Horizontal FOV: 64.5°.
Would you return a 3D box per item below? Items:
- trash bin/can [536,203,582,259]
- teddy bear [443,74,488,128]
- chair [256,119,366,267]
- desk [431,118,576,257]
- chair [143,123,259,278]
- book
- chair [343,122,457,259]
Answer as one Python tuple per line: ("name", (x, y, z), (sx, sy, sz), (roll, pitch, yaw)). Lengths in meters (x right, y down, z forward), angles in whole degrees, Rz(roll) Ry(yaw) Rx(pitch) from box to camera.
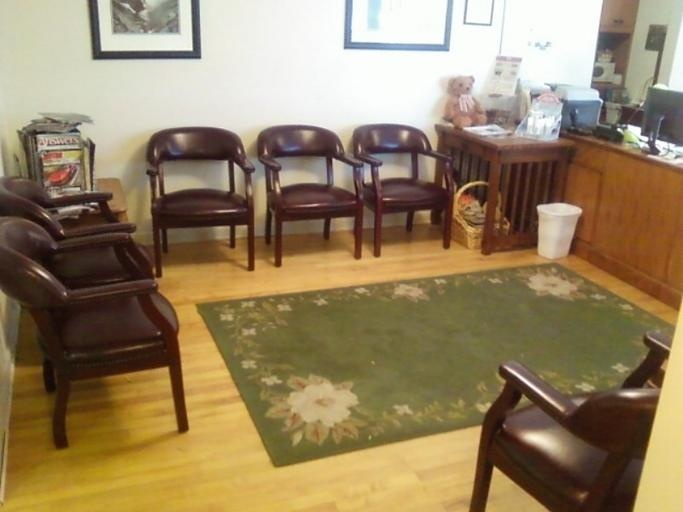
("trash bin/can", (1.771, -0.207, 4.426), (0.327, 0.411, 0.287), (-15, 25, -29))
("teddy bear", (1.092, -1.364, 4.769), (0.391, 0.436, 0.357), (-5, 28, -7))
("chair", (-0.244, -0.521, 4.343), (0.782, 0.998, 0.758), (-7, 22, -12))
("desk", (1.428, -0.732, 4.859), (1.428, 1.303, 1.033), (-5, 19, -15))
("chair", (-1.059, -0.448, 4.068), (0.745, 0.951, 0.715), (-2, 21, -14))
("book", (-1.730, -0.561, 3.300), (0.321, 0.503, 0.270), (-12, 32, -31))
("chair", (0.506, -0.574, 4.544), (0.798, 0.963, 0.793), (-1, 21, -4))
